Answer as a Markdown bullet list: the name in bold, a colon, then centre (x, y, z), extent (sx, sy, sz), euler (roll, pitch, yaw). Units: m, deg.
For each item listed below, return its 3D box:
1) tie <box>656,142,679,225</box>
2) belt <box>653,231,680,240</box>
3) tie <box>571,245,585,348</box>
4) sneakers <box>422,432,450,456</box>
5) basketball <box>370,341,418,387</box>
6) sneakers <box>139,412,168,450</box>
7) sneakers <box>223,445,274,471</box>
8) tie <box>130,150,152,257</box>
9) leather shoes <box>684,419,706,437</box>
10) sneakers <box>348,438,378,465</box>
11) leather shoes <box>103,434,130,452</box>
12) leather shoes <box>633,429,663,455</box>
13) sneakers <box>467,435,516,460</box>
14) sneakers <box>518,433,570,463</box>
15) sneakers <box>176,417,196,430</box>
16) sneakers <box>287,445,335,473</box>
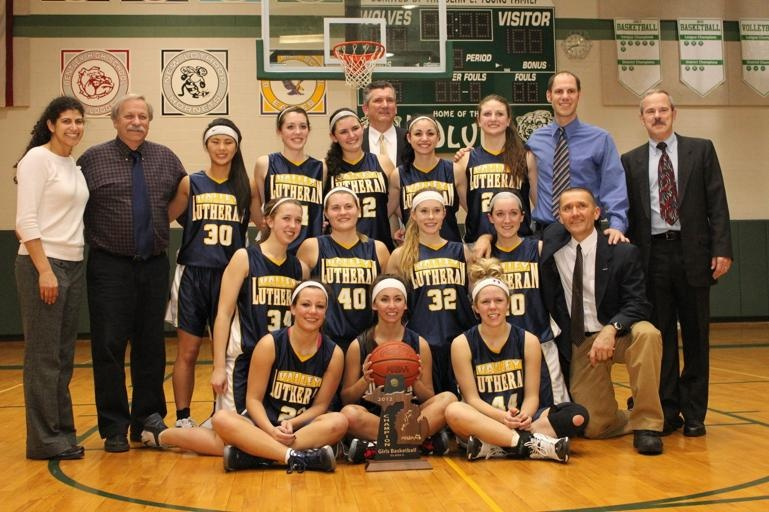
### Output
- **tie**: centre (2.415, -0.621, 5.856), extent (0.157, 0.713, 0.184), euler (0, 5, 19)
- **belt**: centre (2.383, -0.176, 5.821), extent (0.217, 0.077, 0.028), euler (0, 5, 18)
- **tie**: centre (1.598, 0.332, 5.690), extent (0.099, 0.842, 0.089), euler (0, 5, 22)
- **sneakers**: centre (0.405, 1.476, 5.346), extent (0.183, 0.078, 0.180), euler (-1, 1, -34)
- **basketball**: centre (0.067, 0.812, 5.124), extent (0.344, 0.284, 0.275), euler (2, -5, -26)
- **sneakers**: centre (-1.877, 1.447, 5.594), extent (0.184, 0.241, 0.362), euler (-4, 6, -25)
- **sneakers**: centre (-1.041, 1.513, 5.143), extent (0.427, 0.185, 0.144), euler (3, 1, -19)
- **tie**: centre (-2.004, -0.430, 5.660), extent (0.140, 0.867, 0.206), euler (-3, 5, -21)
- **leather shoes**: centre (2.538, 1.417, 5.625), extent (0.171, 0.107, 0.145), euler (0, 5, 16)
- **sneakers**: centre (-0.167, 1.474, 5.160), extent (0.209, 0.196, 0.226), euler (-2, 5, -7)
- **leather shoes**: centre (-2.145, 1.508, 5.504), extent (0.179, 0.124, 0.151), euler (-4, 6, -24)
- **leather shoes**: centre (2.008, 1.423, 5.246), extent (0.192, 0.166, 0.145), euler (1, 5, 23)
- **sneakers**: centre (0.834, 1.472, 5.256), extent (0.408, 0.156, 0.174), euler (-1, 2, -9)
- **sneakers**: centre (1.179, 1.417, 5.166), extent (0.414, 0.164, 0.195), euler (5, 7, 33)
- **sneakers**: centre (-1.656, 1.406, 5.751), extent (0.162, 0.071, 0.078), euler (-6, -7, 31)
- **sneakers**: centre (-0.518, 1.494, 5.059), extent (0.410, 0.158, 0.177), euler (-4, 1, 12)
